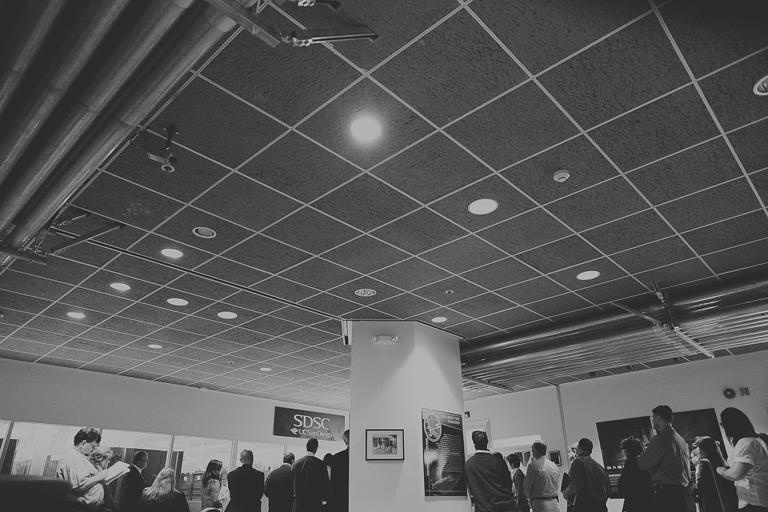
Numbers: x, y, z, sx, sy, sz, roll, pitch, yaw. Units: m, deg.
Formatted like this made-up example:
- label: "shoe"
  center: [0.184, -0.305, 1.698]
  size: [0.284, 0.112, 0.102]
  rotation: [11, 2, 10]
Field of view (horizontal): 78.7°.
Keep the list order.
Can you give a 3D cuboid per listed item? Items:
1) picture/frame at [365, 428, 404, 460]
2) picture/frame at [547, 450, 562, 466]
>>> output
- label: "picture/frame"
  center: [0.011, 3.067, 7.623]
  size: [0.584, 0.382, 0.058]
  rotation: [0, -32, 2]
- label: "picture/frame"
  center: [4.128, 4.863, 11.311]
  size: [0.363, 0.378, 0.040]
  rotation: [-10, -37, 42]
